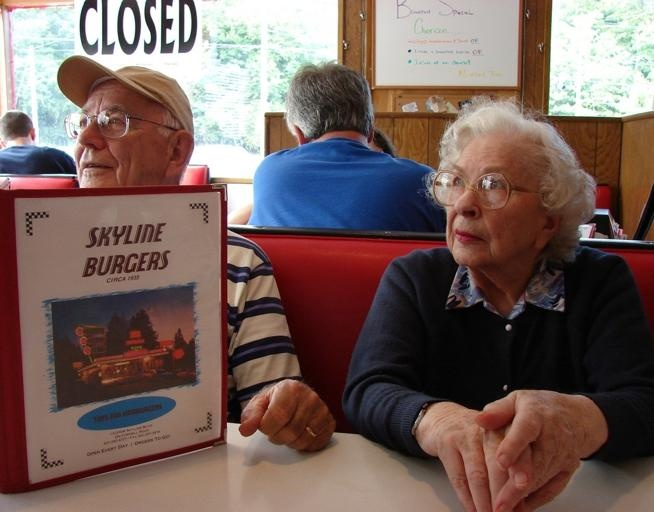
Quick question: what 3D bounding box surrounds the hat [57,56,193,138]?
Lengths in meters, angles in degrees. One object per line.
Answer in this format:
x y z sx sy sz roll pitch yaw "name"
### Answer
-0.479 -0.384 1.351 0.242 0.080 0.167 25 -4 -42 "hat"
